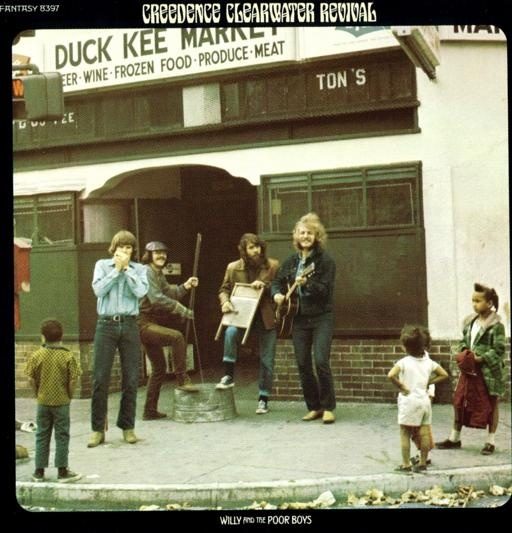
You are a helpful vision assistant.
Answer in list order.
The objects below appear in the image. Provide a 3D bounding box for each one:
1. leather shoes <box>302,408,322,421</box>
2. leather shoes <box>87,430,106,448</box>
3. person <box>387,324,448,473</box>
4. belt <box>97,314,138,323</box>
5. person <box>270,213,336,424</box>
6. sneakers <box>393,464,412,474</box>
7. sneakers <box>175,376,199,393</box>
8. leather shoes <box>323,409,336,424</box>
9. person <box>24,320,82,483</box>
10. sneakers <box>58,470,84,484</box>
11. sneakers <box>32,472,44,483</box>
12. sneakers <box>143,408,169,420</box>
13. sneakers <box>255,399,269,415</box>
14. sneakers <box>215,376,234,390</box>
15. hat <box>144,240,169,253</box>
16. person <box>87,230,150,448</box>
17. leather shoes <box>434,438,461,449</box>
[{"bbox_3d":[0.611,1.571,9.037,0.249,0.140,0.087,0,-3,-34],"label":"leather shoes"},{"bbox_3d":[-1.582,1.696,8.292,0.074,0.126,0.249,1,-13,11],"label":"leather shoes"},{"bbox_3d":[1.404,1.130,7.210,0.475,1.245,0.392,1,7,14],"label":"person"},{"bbox_3d":[-1.358,0.494,8.153,0.347,0.080,0.110,-3,8,-10],"label":"belt"},{"bbox_3d":[0.542,0.552,9.073,0.767,2.140,0.653,2,7,23],"label":"person"},{"bbox_3d":[1.269,1.701,7.158,0.143,0.075,0.065,3,0,21],"label":"sneakers"},{"bbox_3d":[-0.738,1.263,9.087,0.259,0.232,0.122,-2,-2,25],"label":"sneakers"},{"bbox_3d":[0.772,1.555,8.844,0.134,0.129,0.209,-1,8,6],"label":"leather shoes"},{"bbox_3d":[-1.769,1.156,7.279,0.462,1.377,0.371,-2,6,-6],"label":"person"},{"bbox_3d":[-1.614,1.791,7.227,0.184,0.104,0.088,-1,2,-15],"label":"sneakers"},{"bbox_3d":[-1.890,1.795,7.237,0.049,0.071,0.143,4,-2,-3],"label":"sneakers"},{"bbox_3d":[-1.117,1.611,9.348,0.283,0.162,0.103,1,-1,-26],"label":"sneakers"},{"bbox_3d":[0.072,1.566,9.435,0.089,0.129,0.264,-1,-12,8],"label":"sneakers"},{"bbox_3d":[-0.319,1.256,9.139,0.089,0.137,0.263,16,-5,28],"label":"sneakers"},{"bbox_3d":[-1.145,-0.226,9.334,0.251,0.113,0.236,0,3,-38],"label":"hat"},{"bbox_3d":[-1.366,0.795,8.215,0.626,1.881,0.356,-2,6,-11],"label":"person"},{"bbox_3d":[1.817,1.656,7.873,0.222,0.123,0.102,4,-6,-2],"label":"leather shoes"}]
